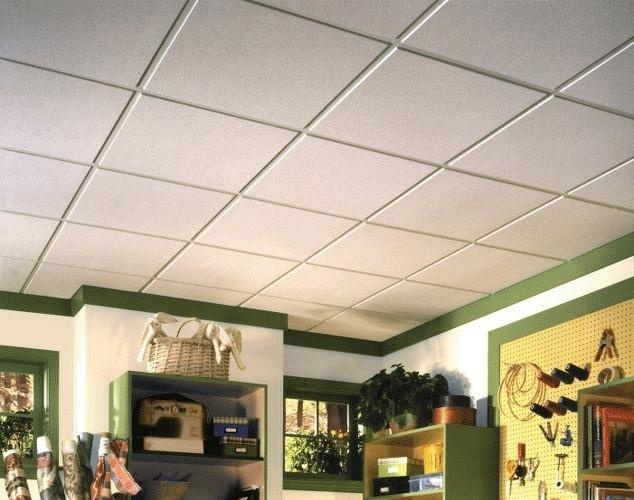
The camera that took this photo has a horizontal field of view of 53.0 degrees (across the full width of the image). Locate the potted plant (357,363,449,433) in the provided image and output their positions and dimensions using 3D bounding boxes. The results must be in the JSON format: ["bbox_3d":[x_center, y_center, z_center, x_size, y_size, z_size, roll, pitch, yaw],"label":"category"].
[{"bbox_3d":[0.674,1.260,5.134,0.614,0.409,0.598,-12,-14,12],"label":"potted plant"}]

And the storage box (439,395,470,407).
[{"bbox_3d":[1.047,1.141,4.770,0.241,0.095,0.153,-1,-21,-1],"label":"storage box"}]

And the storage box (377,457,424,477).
[{"bbox_3d":[0.653,1.730,5.082,0.248,0.115,0.242,7,-16,-26],"label":"storage box"}]

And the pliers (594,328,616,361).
[{"bbox_3d":[1.798,0.598,3.978,0.077,0.188,0.165,5,-22,-18],"label":"pliers"}]

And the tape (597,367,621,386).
[{"bbox_3d":[1.776,0.759,3.836,0.054,0.126,0.124,11,10,-29],"label":"tape"}]
